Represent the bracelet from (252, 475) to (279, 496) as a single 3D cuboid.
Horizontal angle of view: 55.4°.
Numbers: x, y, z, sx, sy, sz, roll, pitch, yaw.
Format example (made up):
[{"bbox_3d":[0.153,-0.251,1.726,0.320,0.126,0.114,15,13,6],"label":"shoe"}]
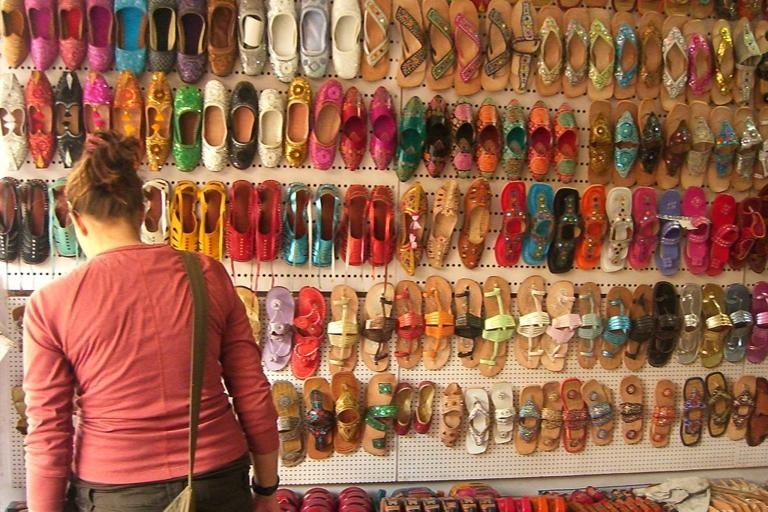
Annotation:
[{"bbox_3d":[-0.507,0.953,3.054,0.082,0.041,0.102,0,35,-4],"label":"bracelet"}]
